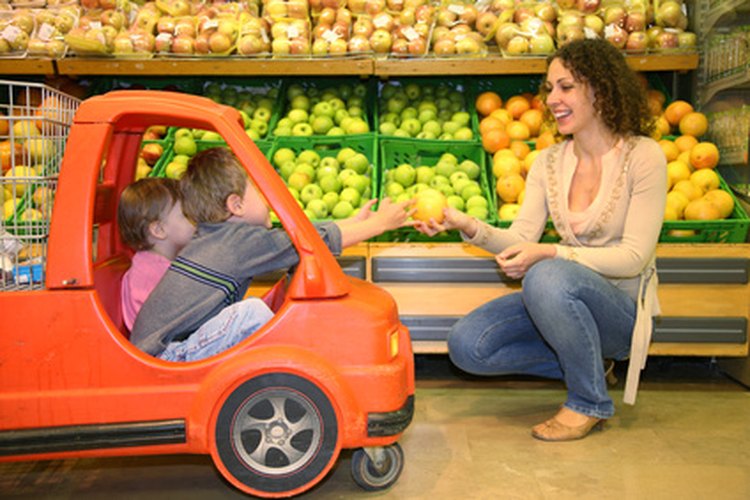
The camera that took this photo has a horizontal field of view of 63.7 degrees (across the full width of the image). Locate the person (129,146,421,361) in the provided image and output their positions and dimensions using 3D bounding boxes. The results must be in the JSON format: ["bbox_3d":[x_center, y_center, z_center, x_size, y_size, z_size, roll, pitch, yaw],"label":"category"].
[{"bbox_3d":[-0.310,0.034,2.214,1.189,0.810,0.418,-2,8,13],"label":"person"}]

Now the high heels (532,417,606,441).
[{"bbox_3d":[0.789,0.733,2.501,0.222,0.076,0.117,0,-5,-4],"label":"high heels"}]

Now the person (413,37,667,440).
[{"bbox_3d":[0.780,-0.077,2.565,0.824,1.634,0.631,3,12,19],"label":"person"}]
